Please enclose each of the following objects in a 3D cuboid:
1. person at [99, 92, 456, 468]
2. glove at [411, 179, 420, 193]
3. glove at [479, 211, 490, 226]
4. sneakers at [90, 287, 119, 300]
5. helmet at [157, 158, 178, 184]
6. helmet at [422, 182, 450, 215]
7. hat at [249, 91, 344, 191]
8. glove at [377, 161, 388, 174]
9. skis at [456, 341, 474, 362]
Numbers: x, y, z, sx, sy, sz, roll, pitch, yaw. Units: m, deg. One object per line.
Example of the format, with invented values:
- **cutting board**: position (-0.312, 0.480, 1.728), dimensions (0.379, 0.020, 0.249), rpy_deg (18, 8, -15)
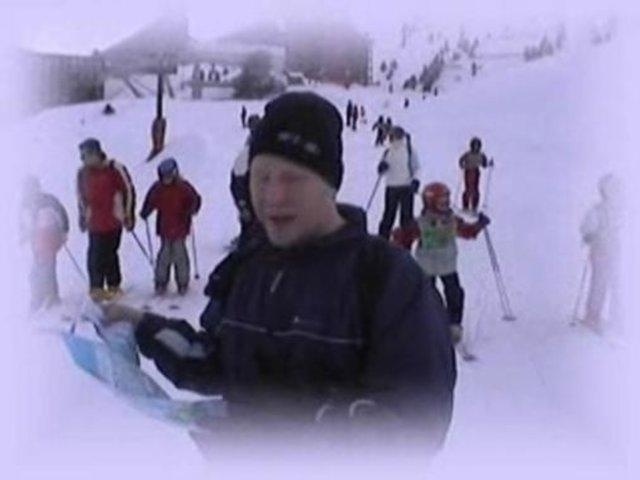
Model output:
- **person**: position (-0.095, 0.243, 4.636), dimensions (1.842, 1.661, 0.470), rpy_deg (8, 3, 15)
- **glove**: position (0.629, -0.363, 4.810), dimensions (0.059, 0.080, 0.071), rpy_deg (11, 24, 18)
- **glove**: position (1.099, -0.143, 4.876), dimensions (0.062, 0.100, 0.037), rpy_deg (2, 5, -1)
- **sneakers**: position (-1.431, 0.358, 4.848), dimensions (0.091, 0.053, 0.124), rpy_deg (6, -14, -41)
- **helmet**: position (-1.005, -0.456, 4.826), dimensions (0.102, 0.144, 0.154), rpy_deg (-1, 8, -7)
- **helmet**: position (0.774, -0.281, 4.850), dimensions (0.177, 0.224, 0.150), rpy_deg (2, 3, 2)
- **hat**: position (-0.108, -0.652, 4.652), dimensions (0.464, 0.493, 0.560), rpy_deg (13, 11, 2)
- **glove**: position (0.409, -0.470, 4.758), dimensions (0.055, 0.074, 0.074), rpy_deg (-22, -11, 15)
- **skis**: position (0.958, 0.747, 4.907), dimensions (0.093, 0.133, 0.134), rpy_deg (-6, -13, -10)
